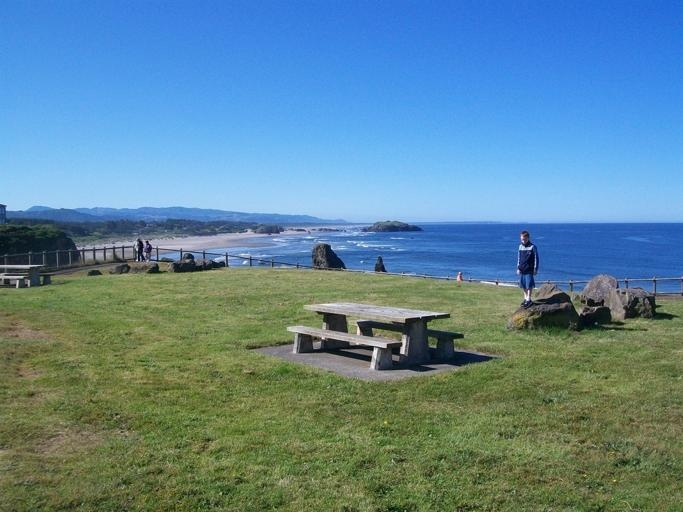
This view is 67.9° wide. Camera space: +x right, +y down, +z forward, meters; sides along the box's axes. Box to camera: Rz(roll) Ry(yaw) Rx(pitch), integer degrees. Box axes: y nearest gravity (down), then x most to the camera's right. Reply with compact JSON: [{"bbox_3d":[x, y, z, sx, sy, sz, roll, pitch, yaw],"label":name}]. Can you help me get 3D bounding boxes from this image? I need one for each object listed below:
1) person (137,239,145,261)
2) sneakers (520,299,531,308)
[{"bbox_3d":[-11.446,-0.388,28.804,0.446,1.378,2.533,-5,9,-22],"label":"person"},{"bbox_3d":[4.507,1.151,12.357,0.224,0.176,0.338,2,8,18],"label":"sneakers"}]
